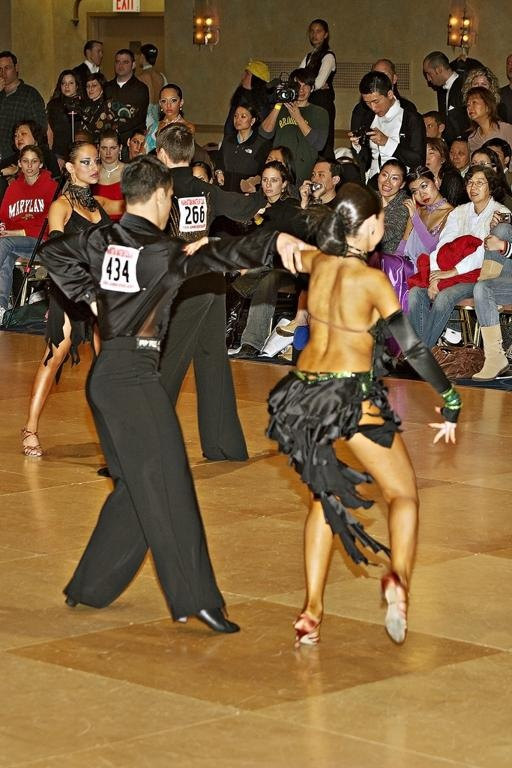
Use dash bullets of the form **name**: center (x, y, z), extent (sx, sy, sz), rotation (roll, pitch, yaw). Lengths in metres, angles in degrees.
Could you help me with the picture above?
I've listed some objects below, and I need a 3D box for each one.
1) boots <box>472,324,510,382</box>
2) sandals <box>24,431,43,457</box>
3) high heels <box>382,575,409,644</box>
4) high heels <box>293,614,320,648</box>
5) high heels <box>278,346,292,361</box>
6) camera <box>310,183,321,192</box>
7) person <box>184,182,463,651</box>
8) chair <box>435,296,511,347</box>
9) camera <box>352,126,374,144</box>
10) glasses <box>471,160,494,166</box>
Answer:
- **boots**: center (2.746, -0.357, 7.174), extent (0.397, 0.635, 0.287), rotation (-2, -10, 9)
- **sandals**: center (-1.830, 0.496, 4.993), extent (0.100, 0.102, 0.276), rotation (-2, 10, -17)
- **high heels**: center (0.410, 0.643, 1.787), extent (0.080, 0.206, 0.090), rotation (0, 0, 15)
- **high heels**: center (0.177, 0.865, 2.171), extent (0.092, 0.133, 0.143), rotation (1, -4, 5)
- **high heels**: center (0.397, -0.391, 8.124), extent (0.163, 0.202, 0.082), rotation (-3, -24, 42)
- **camera**: center (0.749, -2.483, 7.701), extent (0.094, 0.112, 0.028), rotation (-2, -11, -4)
- **person**: center (0.344, 0.150, 2.030), extent (0.481, 1.490, 0.638), rotation (4, -10, -21)
- **chair**: center (2.694, -0.786, 7.677), extent (0.613, 0.749, 0.744), rotation (0, 1, -4)
- **camera**: center (1.504, -3.528, 8.686), extent (0.272, 0.288, 0.160), rotation (-11, -38, 20)
- **glasses**: center (2.889, -2.804, 7.738), extent (0.232, 0.065, 0.210), rotation (6, 14, -5)
